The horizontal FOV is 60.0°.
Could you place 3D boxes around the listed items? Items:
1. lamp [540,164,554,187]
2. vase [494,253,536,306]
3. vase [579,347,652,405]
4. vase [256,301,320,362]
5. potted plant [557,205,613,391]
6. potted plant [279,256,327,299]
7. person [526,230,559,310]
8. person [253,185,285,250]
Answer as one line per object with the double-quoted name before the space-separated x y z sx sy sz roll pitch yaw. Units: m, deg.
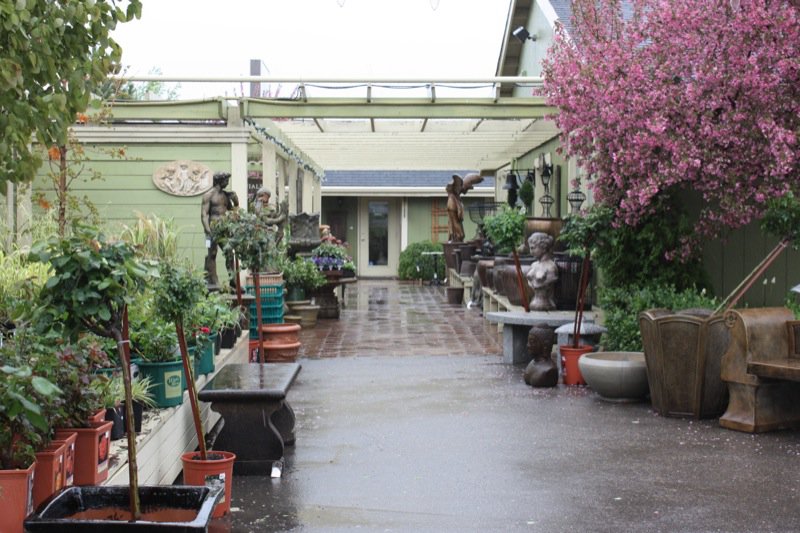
"lamp" 3.062 -1.897 14.441 0.234 0.429 0.580 1 5 8
"vase" 1.863 0.231 11.270 0.546 0.696 0.740 0 -8 5
"vase" 2.222 1.095 7.141 0.522 0.326 0.551 -3 -2 28
"vase" -1.513 0.903 8.932 0.490 0.528 0.708 -3 -7 20
"potted plant" 2.263 0.266 8.414 0.600 2.066 2.602 2 5 19
"potted plant" -1.732 0.216 12.431 0.673 0.767 0.741 -2 1 17
"person" 1.958 0.070 9.576 0.424 1.079 0.614 1 5 11
"person" -2.050 -0.653 10.891 0.483 1.124 0.449 0 6 -15
